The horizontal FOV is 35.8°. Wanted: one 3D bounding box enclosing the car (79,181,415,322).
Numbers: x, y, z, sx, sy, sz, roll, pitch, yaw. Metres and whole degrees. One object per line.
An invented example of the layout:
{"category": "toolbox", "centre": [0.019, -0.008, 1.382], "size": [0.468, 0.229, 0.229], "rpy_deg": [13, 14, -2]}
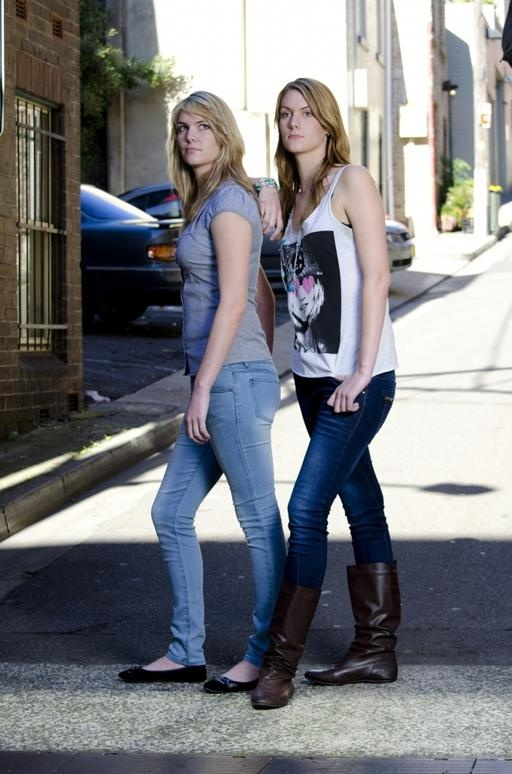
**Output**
{"category": "car", "centre": [-0.405, -2.585, 15.438], "size": [2.992, 2.048, 6.758], "rpy_deg": [1, 5, 35]}

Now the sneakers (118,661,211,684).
{"category": "sneakers", "centre": [-0.298, 0.924, 2.618], "size": [0.287, 0.075, 0.095], "rpy_deg": [2, -7, 8]}

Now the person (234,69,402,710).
{"category": "person", "centre": [0.200, -0.025, 2.486], "size": [0.475, 1.517, 0.488], "rpy_deg": [-4, -2, 10]}
